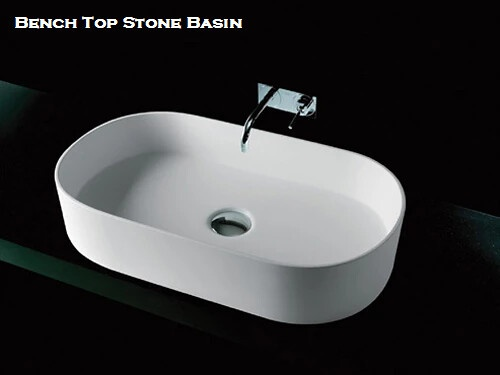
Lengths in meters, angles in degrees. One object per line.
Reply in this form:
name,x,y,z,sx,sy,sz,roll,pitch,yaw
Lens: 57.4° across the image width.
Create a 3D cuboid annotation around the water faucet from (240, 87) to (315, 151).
water faucet,0.090,-0.166,1.600,0.229,0.255,0.227,15,71,7
